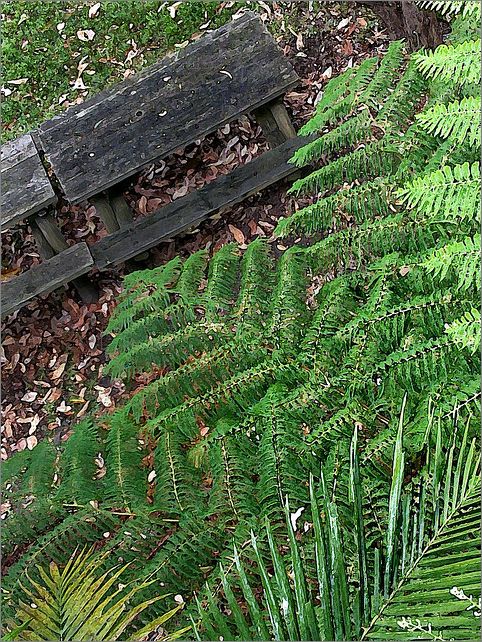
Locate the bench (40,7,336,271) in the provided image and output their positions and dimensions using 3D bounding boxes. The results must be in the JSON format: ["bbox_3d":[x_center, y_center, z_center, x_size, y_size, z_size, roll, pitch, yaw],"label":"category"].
[{"bbox_3d":[-0.224,-0.903,3.627,1.362,0.634,1.102,-22,49,19],"label":"bench"}]
